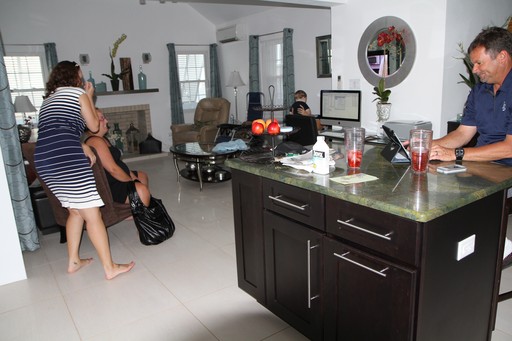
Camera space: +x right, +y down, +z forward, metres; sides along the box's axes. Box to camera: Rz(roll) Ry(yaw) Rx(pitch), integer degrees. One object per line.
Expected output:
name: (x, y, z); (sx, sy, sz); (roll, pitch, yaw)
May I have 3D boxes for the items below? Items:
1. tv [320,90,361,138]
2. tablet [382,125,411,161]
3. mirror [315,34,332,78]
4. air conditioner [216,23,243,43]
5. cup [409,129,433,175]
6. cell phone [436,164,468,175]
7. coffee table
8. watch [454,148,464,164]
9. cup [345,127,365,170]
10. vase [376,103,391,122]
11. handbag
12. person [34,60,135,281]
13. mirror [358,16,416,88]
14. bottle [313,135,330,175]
tv: (1.182, -0.881, 4.551); (0.115, 0.522, 0.677); (-17, 20, -38)
tablet: (0.992, -0.204, 2.346); (0.173, 0.226, 0.249); (3, -2, 8)
mirror: (1.433, -2.437, 6.865); (0.128, 0.863, 0.395); (-14, 19, -31)
air conditioner: (-0.688, -3.684, 8.632); (0.290, 0.417, 0.970); (-18, 21, -41)
cup: (1.058, -0.130, 2.076); (0.130, 0.283, 0.132); (-4, 16, 1)
cell phone: (1.283, -0.011, 2.095); (0.224, 0.033, 0.127); (-11, 17, -24)
coffee table: (-0.901, -0.078, 5.475); (0.873, 0.642, 1.179); (-13, 18, -29)
watch: (1.416, -0.109, 2.230); (0.065, 0.105, 0.106); (2, -19, 22)
cup: (0.672, -0.146, 2.198); (0.119, 0.276, 0.163); (0, 16, 15)
vase: (1.629, -0.755, 4.138); (0.196, 0.251, 0.160); (10, 21, 41)
handbag: (-1.209, 0.517, 3.673); (0.367, 0.684, 0.520); (-17, 12, 4)
person: (-1.639, 0.012, 3.027); (0.683, 2.027, 0.444); (0, 17, 15)
mirror: (1.720, -1.567, 4.146); (0.920, 1.060, 0.079); (12, 20, 43)
bottle: (0.441, -0.117, 2.167); (0.110, 0.257, 0.175); (0, 16, 13)
